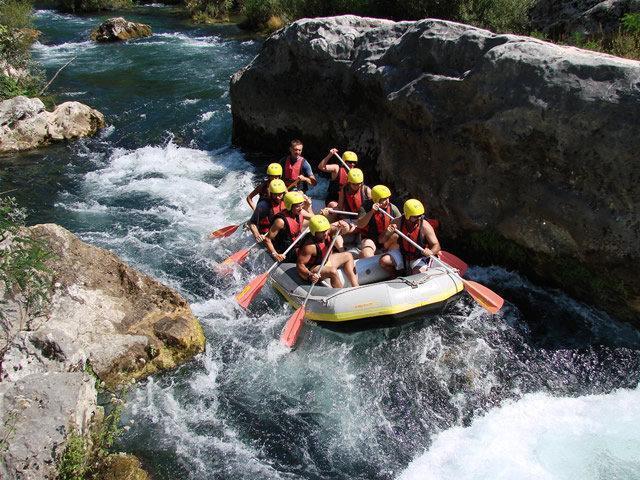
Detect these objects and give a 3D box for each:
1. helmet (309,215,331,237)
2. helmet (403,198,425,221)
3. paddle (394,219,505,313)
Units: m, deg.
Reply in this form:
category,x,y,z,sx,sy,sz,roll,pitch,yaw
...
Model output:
category,x,y,z,sx,sy,sz,roll,pitch,yaw
helmet,-0.001,-0.272,8.282,0.237,0.259,0.332,-28,45,-28
helmet,1.547,-0.537,8.587,0.243,0.279,0.364,-17,35,-11
paddle,2.220,0.473,8.751,0.280,0.184,2.145,-26,57,-32
